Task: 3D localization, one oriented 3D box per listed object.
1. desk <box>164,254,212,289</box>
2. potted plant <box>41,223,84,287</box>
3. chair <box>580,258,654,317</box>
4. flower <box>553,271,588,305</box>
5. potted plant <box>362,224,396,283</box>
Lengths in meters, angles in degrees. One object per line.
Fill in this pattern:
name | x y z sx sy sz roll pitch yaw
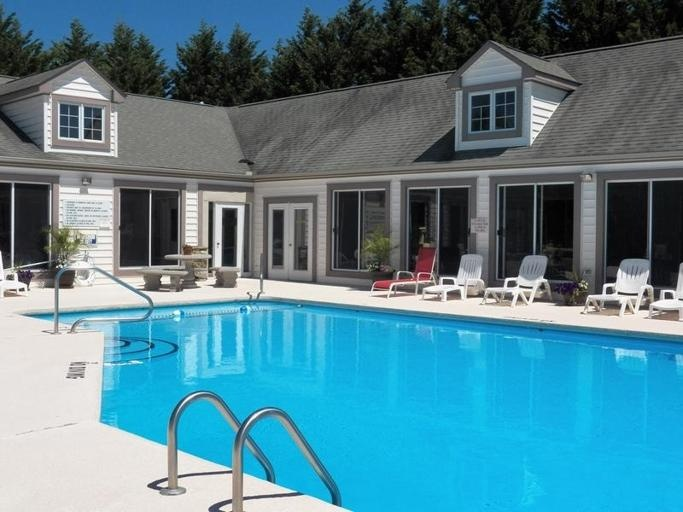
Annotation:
desk | -4.491 0.330 19.877 1.254 0.841 1.259 0 0 12
potted plant | -7.775 0.013 18.471 1.001 1.710 1.322 1 1 -42
chair | 6.301 0.676 14.893 1.709 1.200 1.127 -3 2 -43
flower | 5.650 0.825 15.898 0.794 0.740 0.884 8 -8 -30
potted plant | 1.109 0.013 19.871 1.265 1.982 1.298 -1 -2 3
